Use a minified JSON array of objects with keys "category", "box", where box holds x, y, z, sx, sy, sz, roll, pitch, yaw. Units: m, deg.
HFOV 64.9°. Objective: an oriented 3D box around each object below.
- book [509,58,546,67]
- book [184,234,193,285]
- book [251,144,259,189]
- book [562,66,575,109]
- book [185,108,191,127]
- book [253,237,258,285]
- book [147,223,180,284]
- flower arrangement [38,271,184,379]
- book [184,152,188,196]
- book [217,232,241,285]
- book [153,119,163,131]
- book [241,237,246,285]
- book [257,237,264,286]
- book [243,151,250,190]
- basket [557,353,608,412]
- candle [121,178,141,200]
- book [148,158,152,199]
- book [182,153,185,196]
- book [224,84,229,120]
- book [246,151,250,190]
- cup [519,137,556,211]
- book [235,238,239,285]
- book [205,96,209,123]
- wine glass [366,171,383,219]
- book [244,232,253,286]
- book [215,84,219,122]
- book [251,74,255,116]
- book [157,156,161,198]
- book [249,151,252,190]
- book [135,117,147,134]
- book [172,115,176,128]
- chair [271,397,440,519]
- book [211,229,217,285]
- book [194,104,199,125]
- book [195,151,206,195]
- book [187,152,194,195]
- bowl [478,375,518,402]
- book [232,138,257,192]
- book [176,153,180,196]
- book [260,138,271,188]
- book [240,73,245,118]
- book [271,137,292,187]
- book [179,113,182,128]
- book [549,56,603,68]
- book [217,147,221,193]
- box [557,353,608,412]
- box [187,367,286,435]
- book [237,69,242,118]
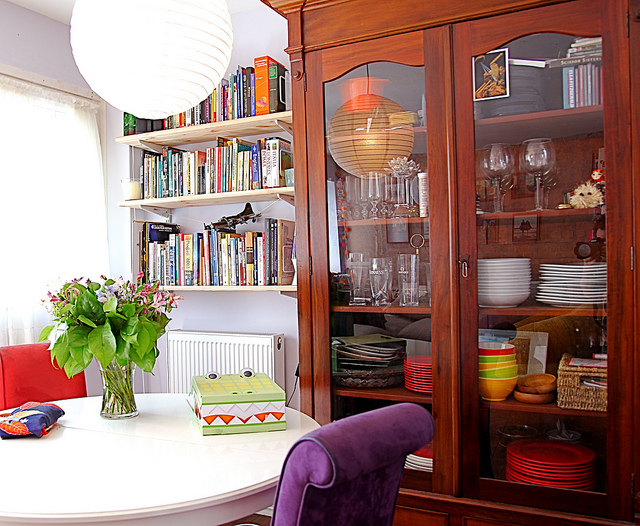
[{"category":"book","box":[0.750,-0.725,1.820,0.059,0.015,0.054,8,13,30]},{"category":"book","box":[-0.762,-0.020,2.908,0.067,0.286,0.024,2,5,23]},{"category":"book","box":[-0.347,-0.519,2.700,0.042,0.237,0.021,1,5,13]},{"category":"book","box":[0.874,-0.618,1.774,0.042,0.142,0.007,3,5,35]},{"category":"book","box":[-0.741,-0.815,2.835,0.015,0.086,0.056,-4,6,-44]},{"category":"book","box":[-0.350,-0.014,2.727,0.019,0.257,0.031,-1,5,-17]},{"category":"book","box":[-0.933,-0.045,2.982,0.058,0.414,0.361,-1,-2,20]},{"category":"flower arrangement","box":[-0.718,0.217,1.755,0.416,0.238,0.472,15,14,30]},{"category":"book","box":[-0.769,-0.515,2.890,0.019,0.239,0.049,-1,5,-14]},{"category":"book","box":[-0.509,-0.019,2.805,0.163,0.274,0.290,-2,-2,5]},{"category":"book","box":[-0.951,-0.812,2.952,0.053,0.078,0.068,-1,4,-17]},{"category":"book","box":[-0.422,-0.012,2.769,0.017,0.253,0.057,-1,5,-18]},{"category":"book","box":[-0.321,-0.012,2.711,0.050,0.253,0.023,2,5,25]},{"category":"book","box":[-0.402,-0.505,2.740,0.036,0.206,0.032,-1,4,-7]},{"category":"basket","box":[0.908,0.412,1.770,0.178,0.132,0.173,0,-3,14]},{"category":"candle","box":[-1.134,-0.446,3.036,0.126,0.119,0.114,0,-2,-10]},{"category":"book","box":[-1.008,-0.509,2.994,0.022,0.235,0.037,-1,5,-17]},{"category":"book","box":[-0.785,-0.516,2.897,0.011,0.240,0.042,-1,5,-15]},{"category":"book","box":[-0.516,-0.886,2.764,0.020,0.192,0.029,0,4,7]},{"category":"book","box":[-0.393,-0.507,2.739,0.018,0.203,0.035,-1,4,-6]},{"category":"cup","box":[0.812,-0.325,1.881,0.125,0.261,0.109,-3,6,15]},{"category":"book","box":[-0.462,-0.009,2.784,0.013,0.252,0.036,-3,5,-32]},{"category":"book","box":[-0.627,-0.846,2.785,0.026,0.132,0.009,1,5,12]},{"category":"wine glass","box":[0.223,-0.283,2.084,0.067,0.197,0.025,0,4,6]},{"category":"book","box":[-0.387,-0.022,2.740,0.038,0.284,0.056,-1,4,-10]},{"category":"book","box":[-0.563,-0.868,2.750,0.022,0.197,0.055,-1,4,-11]},{"category":"book","box":[-0.357,-0.897,2.678,0.038,0.157,0.159,1,6,-9]},{"category":"book","box":[-0.952,-0.512,2.979,0.023,0.238,0.037,-1,5,-16]},{"category":"book","box":[-0.378,-0.494,2.727,0.013,0.181,0.029,-2,5,-23]},{"category":"book","box":[-1.056,-0.807,2.970,0.069,0.091,0.043,-1,4,-16]},{"category":"book","box":[-0.837,-0.809,2.884,0.030,0.065,0.012,4,6,40]},{"category":"chair","box":[0.084,0.477,1.093,0.367,0.313,0.155,-4,6,-44]},{"category":"book","box":[-0.597,-0.031,2.839,0.040,0.300,0.013,4,6,40]},{"category":"book","box":[-0.690,-0.826,2.812,0.015,0.102,0.038,-4,6,-39]},{"category":"book","box":[-0.682,-0.515,2.869,0.062,0.239,0.047,-1,4,-11]},{"category":"book","box":[-0.750,-0.515,2.882,0.022,0.235,0.041,-1,5,-14]},{"category":"bowl","box":[0.665,0.468,1.873,0.099,0.058,0.098,0,-7,0]},{"category":"book","box":[-0.416,-0.524,2.742,0.104,0.283,0.307,1,2,7]},{"category":"book","box":[-0.821,-0.513,2.904,0.017,0.238,0.029,-1,5,-14]},{"category":"book","box":[-0.291,-0.530,2.674,0.029,0.256,0.073,-3,5,-34]},{"category":"book","box":[-0.419,-0.902,2.698,0.027,0.233,0.010,2,5,26]},{"category":"book","box":[-0.228,-0.546,2.743,0.096,0.253,0.268,1,7,16]},{"category":"book","box":[-0.792,-0.823,2.866,0.014,0.061,0.061,0,11,-14]},{"category":"book","box":[0.885,-0.704,1.754,0.162,0.031,0.006,2,5,32]},{"category":"book","box":[-0.560,-0.520,2.793,0.019,0.240,0.025,0,4,2]},{"category":"box","box":[0.967,0.428,1.827,0.202,0.138,0.201,-1,8,23]},{"category":"box","box":[-0.287,0.472,1.739,0.297,0.147,0.312,-1,4,-14]},{"category":"book","box":[-0.434,-0.910,2.704,0.016,0.252,0.034,-4,6,-39]}]
